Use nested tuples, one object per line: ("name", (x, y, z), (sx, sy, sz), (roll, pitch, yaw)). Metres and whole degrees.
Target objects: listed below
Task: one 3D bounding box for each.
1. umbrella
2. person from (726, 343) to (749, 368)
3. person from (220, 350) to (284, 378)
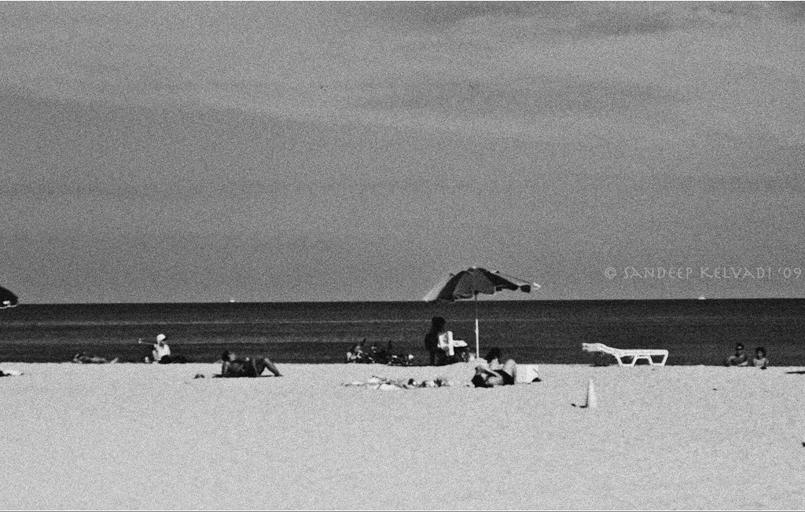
("umbrella", (3.023, 2.273, 79.764), (3.920, 3.896, 2.510), (-6, -87, 7))
("person", (13.308, 4.051, 81.993), (0.796, 1.105, 0.676), (-3, -45, 7))
("person", (-6.296, 4.228, 79.656), (2.206, 1.105, 0.846), (0, -88, 11))
